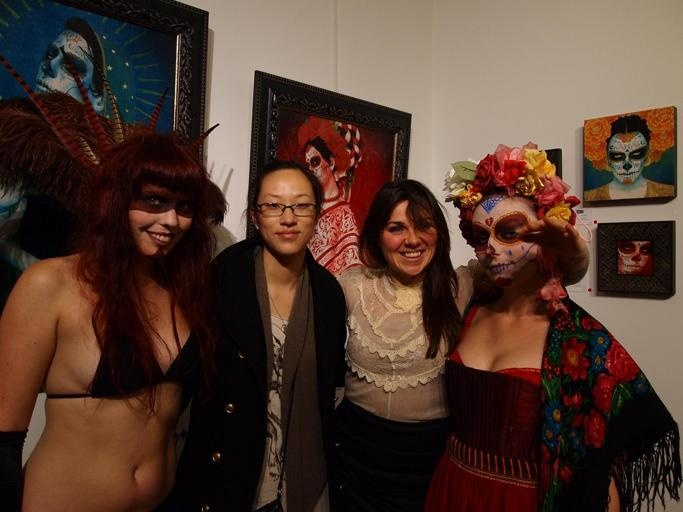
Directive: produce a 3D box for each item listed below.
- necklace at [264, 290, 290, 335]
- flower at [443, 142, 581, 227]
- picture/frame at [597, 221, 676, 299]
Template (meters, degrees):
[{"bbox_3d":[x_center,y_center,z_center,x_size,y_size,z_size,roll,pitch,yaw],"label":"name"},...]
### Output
[{"bbox_3d":[-0.273,0.261,2.599,0.122,0.123,0.171,7,41,13],"label":"necklace"},{"bbox_3d":[0.663,-0.344,2.471,0.374,0.251,0.483,17,-18,-37],"label":"flower"},{"bbox_3d":[1.714,0.022,3.226,0.399,0.520,0.036,2,0,37],"label":"picture/frame"}]
